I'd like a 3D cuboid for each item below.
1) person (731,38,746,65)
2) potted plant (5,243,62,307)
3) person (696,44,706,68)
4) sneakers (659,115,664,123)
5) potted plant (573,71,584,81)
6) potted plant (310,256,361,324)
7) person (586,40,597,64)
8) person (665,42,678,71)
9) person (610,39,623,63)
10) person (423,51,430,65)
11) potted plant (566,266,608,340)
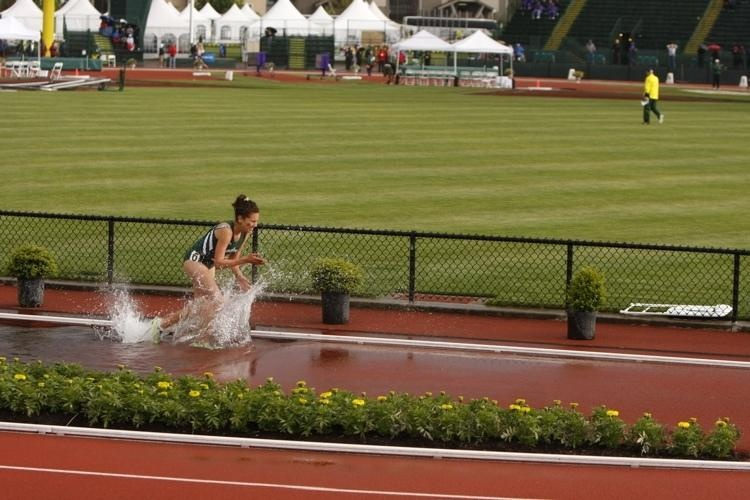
[{"bbox_3d":[18.407,-9.724,77.152,0.665,0.867,1.619,3,10,12],"label":"person"},{"bbox_3d":[-6.833,0.525,29.656,1.141,1.261,1.151,3,5,9],"label":"potted plant"},{"bbox_3d":[16.437,-9.732,76.827,0.408,1.092,1.229,3,10,11],"label":"person"},{"bbox_3d":[9.683,-4.391,51.655,0.148,0.399,0.175,1,1,-2],"label":"sneakers"},{"bbox_3d":[10.328,-8.759,77.386,0.525,0.204,0.699,-5,15,0],"label":"potted plant"},{"bbox_3d":[-0.776,0.808,29.485,1.293,1.365,1.142,0,3,-12],"label":"potted plant"},{"bbox_3d":[11.425,-10.297,80.376,0.537,0.883,1.026,2,10,6],"label":"person"},{"bbox_3d":[14.976,-9.562,76.950,0.496,1.228,0.916,3,10,10],"label":"person"},{"bbox_3d":[12.845,-10.554,80.971,0.510,1.289,1.723,3,10,8],"label":"person"},{"bbox_3d":[2.720,-10.013,79.600,0.317,0.413,1.043,1,45,4],"label":"person"},{"bbox_3d":[3.963,1.028,28.704,0.678,1.336,0.411,2,10,5],"label":"potted plant"}]
